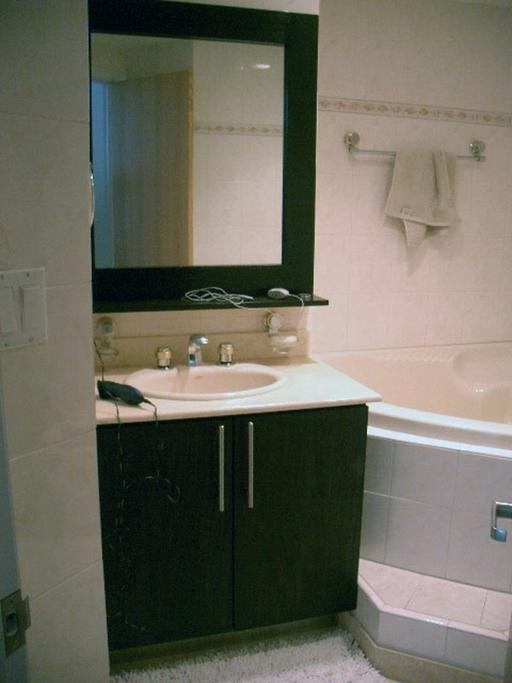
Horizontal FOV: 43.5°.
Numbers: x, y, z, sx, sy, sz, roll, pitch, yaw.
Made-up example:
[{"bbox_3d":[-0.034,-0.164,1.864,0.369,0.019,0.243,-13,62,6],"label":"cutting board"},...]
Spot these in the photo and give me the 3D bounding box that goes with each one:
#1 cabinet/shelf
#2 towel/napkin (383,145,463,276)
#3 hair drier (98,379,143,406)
[{"bbox_3d":[-0.075,0.483,1.673,0.676,0.571,0.258,-3,9,-16],"label":"cabinet/shelf"},{"bbox_3d":[0.654,-0.549,2.500,0.277,0.397,0.109,-2,13,-5],"label":"towel/napkin"},{"bbox_3d":[-0.344,0.131,1.648,0.128,0.043,0.057,21,-2,20],"label":"hair drier"}]
